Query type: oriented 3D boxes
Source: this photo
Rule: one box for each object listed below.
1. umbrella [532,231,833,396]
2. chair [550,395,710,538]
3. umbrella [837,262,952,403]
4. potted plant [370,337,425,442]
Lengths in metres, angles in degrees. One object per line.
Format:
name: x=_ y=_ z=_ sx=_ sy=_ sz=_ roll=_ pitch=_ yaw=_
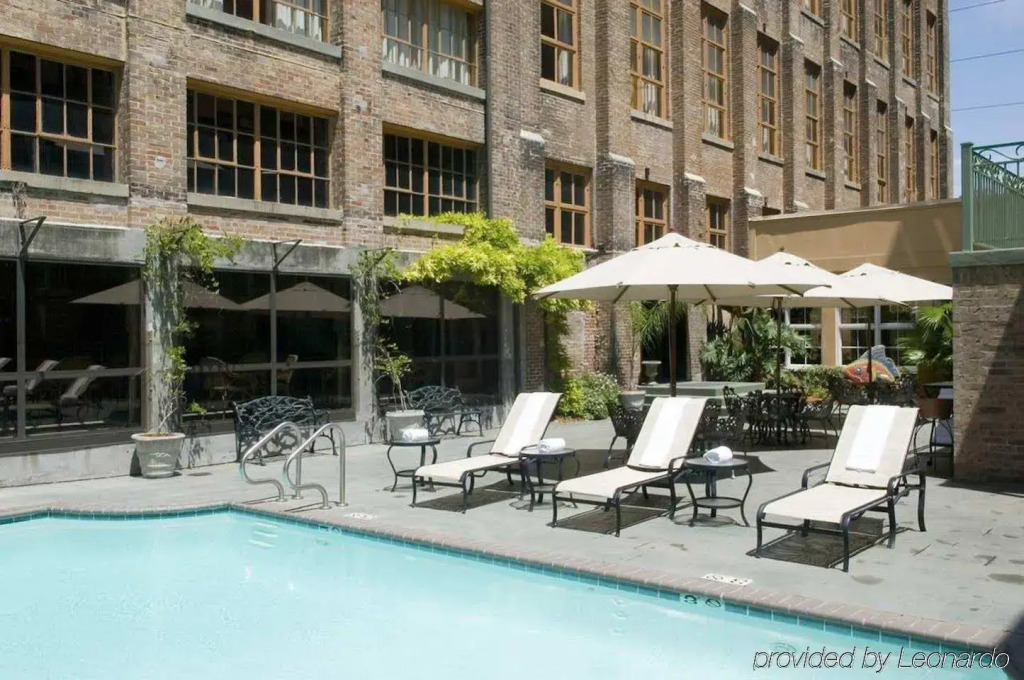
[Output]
umbrella: x=3.189 y=-0.590 z=17.806 sx=4.422 sy=2.705 sz=4.145 roll=2 pitch=12 yaw=16
chair: x=1.984 y=1.872 z=15.220 sx=1.269 sy=1.505 sz=2.836 roll=5 pitch=13 yaw=28
umbrella: x=9.681 y=-0.216 z=24.358 sx=3.785 sy=3.296 sz=3.615 roll=3 pitch=2 yaw=1
potted plant: x=-2.701 y=0.708 z=22.012 sx=1.023 sy=1.753 sz=0.650 roll=-8 pitch=14 yaw=-26
